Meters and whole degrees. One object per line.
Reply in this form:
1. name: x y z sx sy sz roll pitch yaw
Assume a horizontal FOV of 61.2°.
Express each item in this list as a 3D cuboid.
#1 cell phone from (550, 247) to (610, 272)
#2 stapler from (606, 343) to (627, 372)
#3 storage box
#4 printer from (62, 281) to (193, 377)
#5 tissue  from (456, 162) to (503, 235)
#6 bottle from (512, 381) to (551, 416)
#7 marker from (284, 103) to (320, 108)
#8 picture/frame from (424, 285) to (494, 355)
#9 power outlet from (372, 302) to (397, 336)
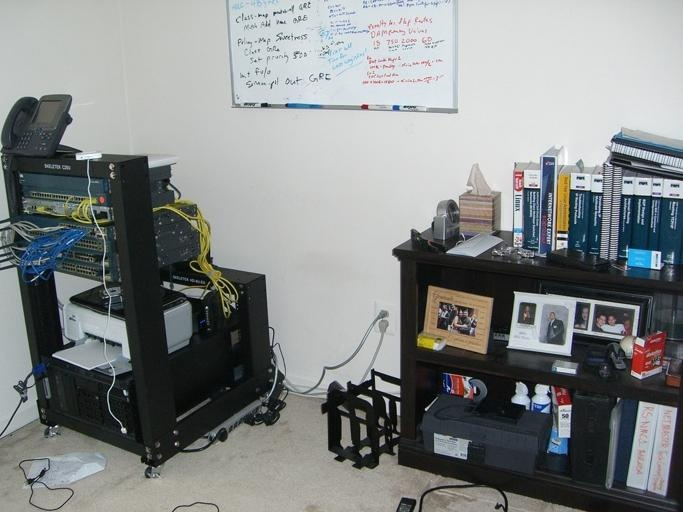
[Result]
1. cell phone: 0.970 0.014 2.361 0.238 0.051 0.121 9 19 31
2. stapler: 1.157 0.420 2.402 0.081 0.089 0.097 1 16 9
3. storage box: 0.645 0.787 2.572 0.359 0.174 0.370 9 15 27
4. printer: -1.125 0.336 2.895 0.615 0.313 0.579 6 13 33
5. tissue : 0.638 -0.264 2.657 0.163 0.313 0.188 7 18 29
6. bottle: 0.887 0.656 2.651 0.177 0.192 0.115 3 13 27
7. marker: -0.200 -0.787 3.015 0.200 0.030 0.032 3 10 15
8. picture/frame: 0.529 0.303 2.633 0.259 0.237 0.020 11 5 35
9. power outlet: 0.234 0.328 3.067 0.153 0.223 0.022 8 16 35
